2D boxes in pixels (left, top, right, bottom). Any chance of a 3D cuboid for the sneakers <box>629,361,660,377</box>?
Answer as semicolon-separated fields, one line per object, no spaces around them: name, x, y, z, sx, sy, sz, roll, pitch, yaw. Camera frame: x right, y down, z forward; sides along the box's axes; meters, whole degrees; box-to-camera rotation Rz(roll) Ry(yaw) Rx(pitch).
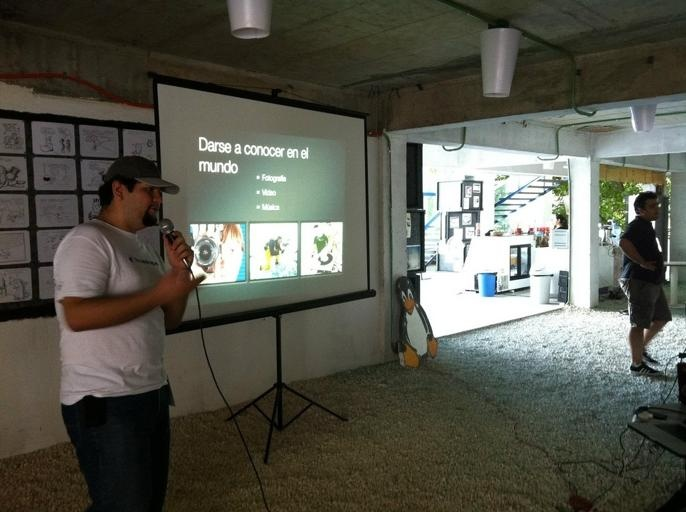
sneakers;3.224;1.194;5.863;0.308;0.150;0.129;0;0;3

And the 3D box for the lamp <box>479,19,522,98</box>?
lamp;1.207;-1.511;4.347;0.425;0.630;0.448;4;7;20

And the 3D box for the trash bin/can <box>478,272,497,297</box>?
trash bin/can;2.767;0.535;10.580;0.382;0.399;0.240;-5;-9;36

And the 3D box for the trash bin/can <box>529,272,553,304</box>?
trash bin/can;3.388;0.574;9.717;0.456;0.516;0.448;0;-3;1

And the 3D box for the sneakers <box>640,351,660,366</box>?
sneakers;3.411;1.138;6.177;0.093;0.119;0.268;-5;6;-38

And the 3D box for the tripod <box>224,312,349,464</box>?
tripod;-0.582;0.978;4.789;0.941;0.991;0.978;11;16;43

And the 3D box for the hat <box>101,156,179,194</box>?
hat;-1.046;-0.425;2.892;0.316;0.164;0.208;2;6;-17

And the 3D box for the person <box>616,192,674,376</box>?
person;3.199;0.290;5.856;0.527;1.893;0.591;7;13;33

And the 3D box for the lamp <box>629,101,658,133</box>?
lamp;3.096;-1.418;5.702;0.205;0.258;0.614;6;14;26
